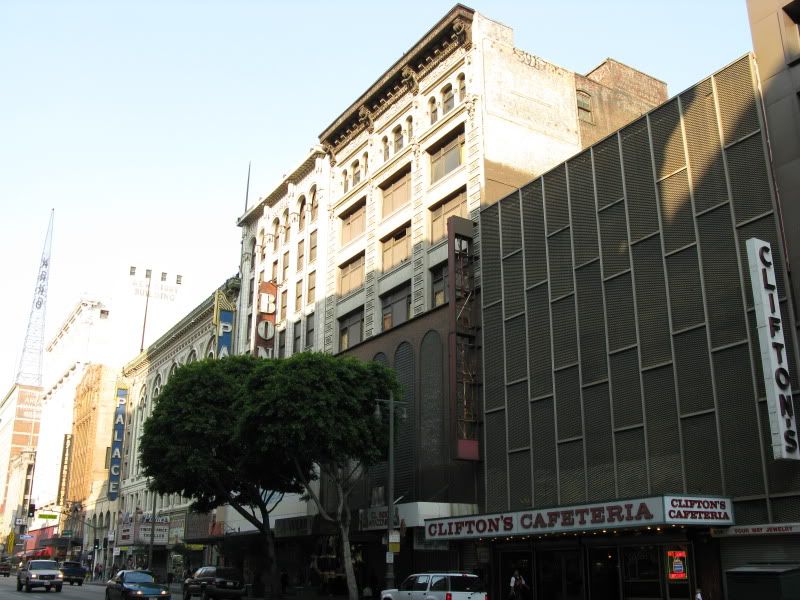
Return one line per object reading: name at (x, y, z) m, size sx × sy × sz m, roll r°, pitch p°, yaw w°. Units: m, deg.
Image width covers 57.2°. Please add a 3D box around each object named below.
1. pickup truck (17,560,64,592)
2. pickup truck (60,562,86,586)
pickup truck at (-23.365, 17.876, 47.700) m, size 2.217 × 1.798 × 4.573 m, roll 8°, pitch -24°, yaw -27°
pickup truck at (-29.193, 24.310, 65.529) m, size 2.060 × 1.486 × 3.504 m, roll 5°, pitch -6°, yaw -24°
